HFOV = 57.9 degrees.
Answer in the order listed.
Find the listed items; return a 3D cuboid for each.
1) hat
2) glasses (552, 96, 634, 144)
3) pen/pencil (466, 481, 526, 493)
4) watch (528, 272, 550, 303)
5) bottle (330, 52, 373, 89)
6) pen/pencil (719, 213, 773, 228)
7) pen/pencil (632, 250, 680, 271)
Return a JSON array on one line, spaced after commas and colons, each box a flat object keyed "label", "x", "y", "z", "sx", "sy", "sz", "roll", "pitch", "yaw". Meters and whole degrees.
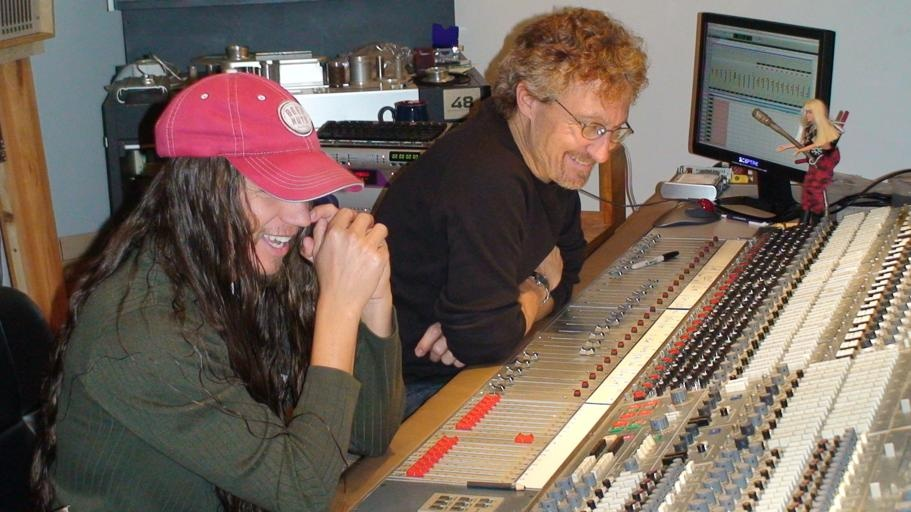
[{"label": "hat", "x": -0.695, "y": -0.457, "z": 2.907, "sx": 0.755, "sy": 0.325, "sz": 0.477, "roll": 11, "pitch": 22, "yaw": 15}, {"label": "glasses", "x": 0.569, "y": -0.521, "z": 3.422, "sx": 0.232, "sy": 0.239, "sz": 0.072, "roll": -20, "pitch": -22, "yaw": -51}, {"label": "pen/pencil", "x": 0.124, "y": 0.786, "z": 2.806, "sx": 0.173, "sy": 0.026, "sz": 0.012, "roll": -2, "pitch": -19, "yaw": 12}, {"label": "watch", "x": 0.381, "y": 0.141, "z": 3.614, "sx": 0.042, "sy": 0.108, "sz": 0.090, "roll": -44, "pitch": 25, "yaw": -31}, {"label": "bottle", "x": -0.688, "y": -1.209, "z": 5.447, "sx": 0.316, "sy": 0.217, "sz": 0.186, "roll": 3, "pitch": 8, "yaw": 12}, {"label": "pen/pencil", "x": 1.492, "y": -0.175, "z": 4.238, "sx": 0.172, "sy": 0.026, "sz": 0.029, "roll": 15, "pitch": 58, "yaw": 15}, {"label": "pen/pencil", "x": 0.940, "y": 0.030, "z": 3.876, "sx": 0.214, "sy": 0.030, "sz": 0.029, "roll": -17, "pitch": -15, "yaw": -26}]
